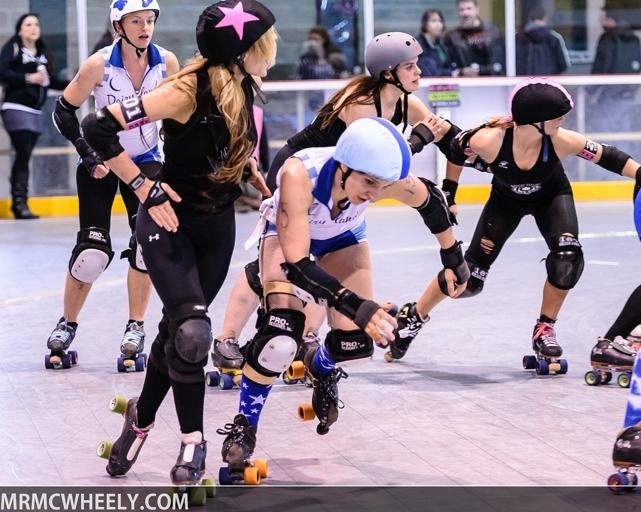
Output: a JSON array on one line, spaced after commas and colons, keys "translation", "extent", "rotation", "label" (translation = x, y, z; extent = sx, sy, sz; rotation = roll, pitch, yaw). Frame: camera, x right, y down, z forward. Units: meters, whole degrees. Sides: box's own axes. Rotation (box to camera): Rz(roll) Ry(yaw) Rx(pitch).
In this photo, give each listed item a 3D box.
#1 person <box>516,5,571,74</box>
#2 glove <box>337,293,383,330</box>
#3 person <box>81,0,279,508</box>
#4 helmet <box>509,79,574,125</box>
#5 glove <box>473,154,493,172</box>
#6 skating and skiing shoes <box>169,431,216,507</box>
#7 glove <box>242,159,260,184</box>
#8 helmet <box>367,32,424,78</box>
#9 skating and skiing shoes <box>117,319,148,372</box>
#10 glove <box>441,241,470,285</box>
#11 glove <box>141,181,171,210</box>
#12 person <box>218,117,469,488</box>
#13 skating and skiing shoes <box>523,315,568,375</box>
[{"translation": [3.612, -3.474, 12.209], "extent": [0.922, 1.124, 0.259], "rotation": [-2, 10, -7], "label": "person"}, {"translation": [0.145, 0.194, 2.766], "extent": [0.145, 0.059, 0.120], "rotation": [32, 55, 20], "label": "glove"}, {"translation": [-0.504, -0.053, 2.970], "extent": [0.772, 1.915, 0.661], "rotation": [-4, 10, -18], "label": "person"}, {"translation": [1.278, -0.883, 4.334], "extent": [0.322, 0.240, 0.234], "rotation": [6, 16, 16], "label": "helmet"}, {"translation": [1.027, -0.569, 4.697], "extent": [0.074, 0.088, 0.118], "rotation": [-20, 24, -33], "label": "glove"}, {"translation": [-0.464, 0.805, 2.761], "extent": [0.117, 0.142, 0.315], "rotation": [0, 1, -5], "label": "skating and skiing shoes"}, {"translation": [-0.312, -0.375, 3.373], "extent": [0.074, 0.110, 0.048], "rotation": [42, 55, 16], "label": "glove"}, {"translation": [0.406, -1.107, 4.215], "extent": [0.309, 0.232, 0.237], "rotation": [-1, 15, 19], "label": "helmet"}, {"translation": [-1.097, 0.568, 4.589], "extent": [0.129, 0.237, 0.388], "rotation": [1, 1, -3], "label": "skating and skiing shoes"}, {"translation": [0.603, 0.034, 3.447], "extent": [0.124, 0.202, 0.085], "rotation": [-33, 19, -27], "label": "glove"}, {"translation": [-0.624, -0.228, 2.879], "extent": [0.087, 0.095, 0.079], "rotation": [3, 10, 23], "label": "glove"}, {"translation": [0.046, 0.174, 3.235], "extent": [0.971, 1.540, 0.931], "rotation": [17, 20, 28], "label": "person"}, {"translation": [1.349, 0.551, 4.545], "extent": [0.261, 0.271, 0.314], "rotation": [-2, 9, -4], "label": "skating and skiing shoes"}]
